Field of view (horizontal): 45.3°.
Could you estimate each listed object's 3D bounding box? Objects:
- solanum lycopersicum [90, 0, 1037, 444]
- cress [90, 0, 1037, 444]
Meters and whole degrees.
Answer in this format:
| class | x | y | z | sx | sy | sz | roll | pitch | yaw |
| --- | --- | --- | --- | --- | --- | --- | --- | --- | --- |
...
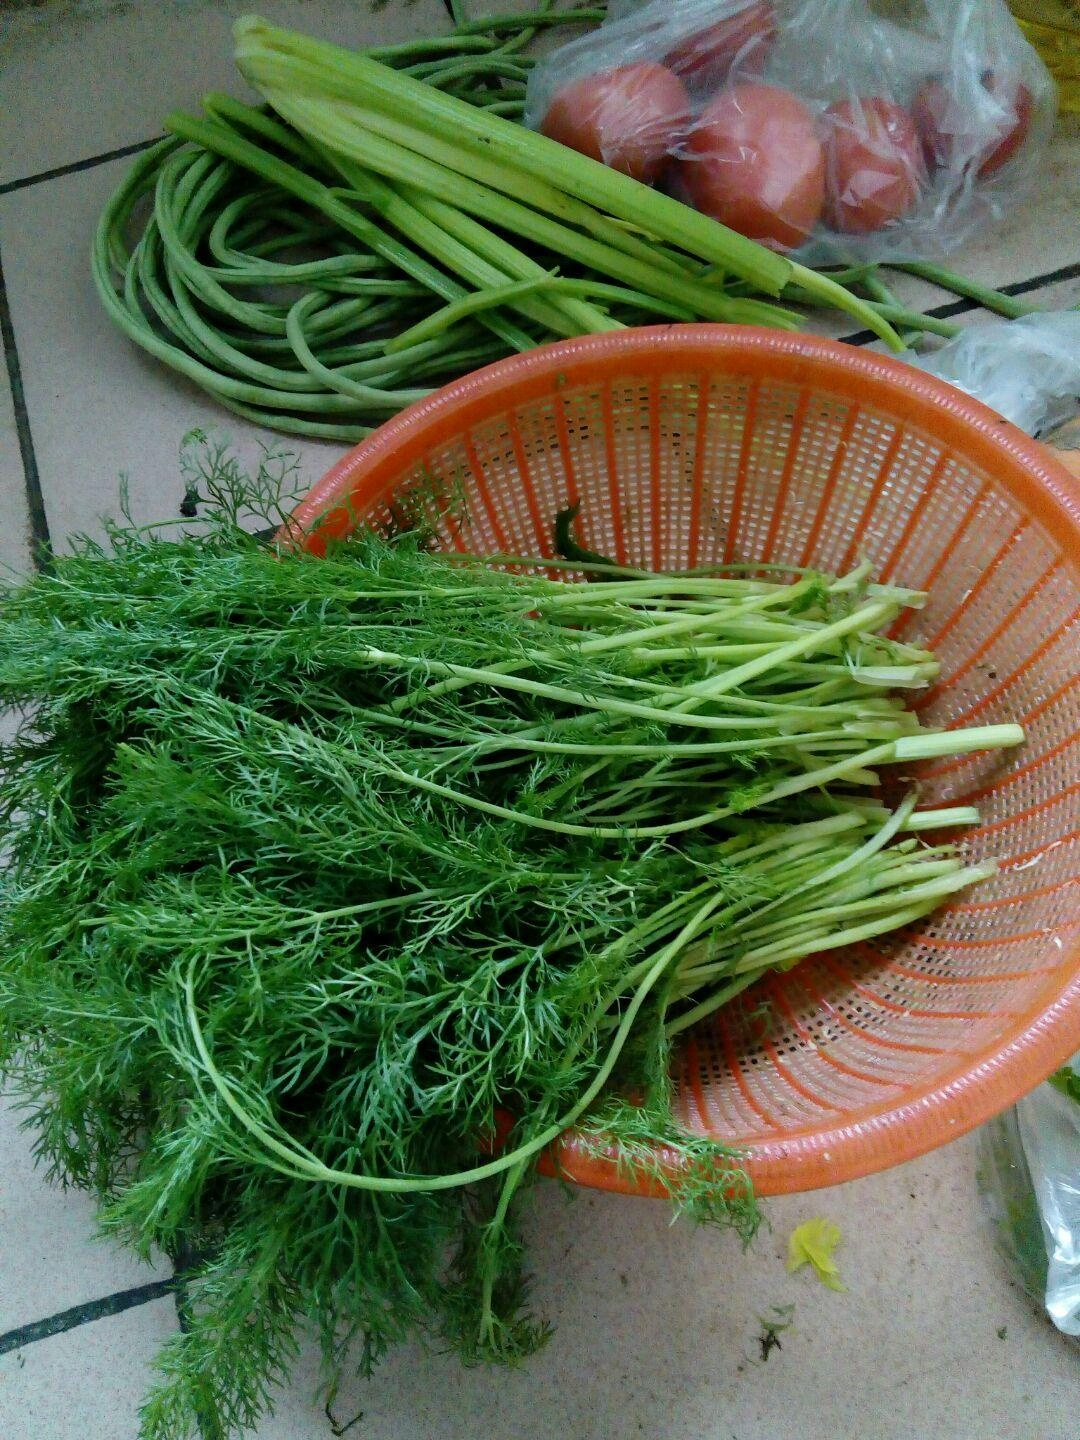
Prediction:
| class | x | y | z | sx | sy | sz | roll | pitch | yaw |
| --- | --- | --- | --- | --- | --- | --- | --- | --- | --- |
| solanum lycopersicum | -0.056 | -0.418 | 1.406 | 0.812 | 0.156 | 0.512 | 18 | 66 | 8 |
| cress | -0.058 | -0.423 | 1.412 | 0.812 | 0.156 | 0.512 | 18 | 66 | 8 |
